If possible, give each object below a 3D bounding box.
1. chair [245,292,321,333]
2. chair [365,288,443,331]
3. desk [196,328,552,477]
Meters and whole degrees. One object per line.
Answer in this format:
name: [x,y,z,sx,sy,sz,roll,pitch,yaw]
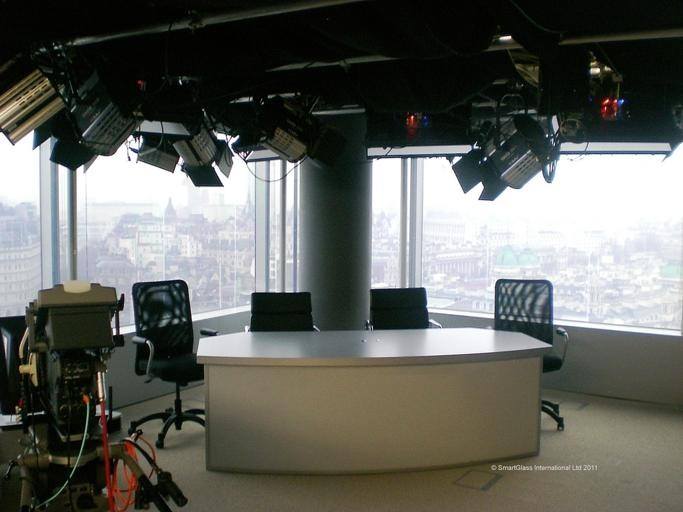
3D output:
chair: [-0.525,0.489,5.669,0.541,0.306,0.209,1,11,-1]
chair: [0.584,0.490,5.902,0.436,0.602,0.460,-1,-4,-11]
desk: [0.227,1.119,4.912,2.598,0.903,0.653,-1,11,-9]
